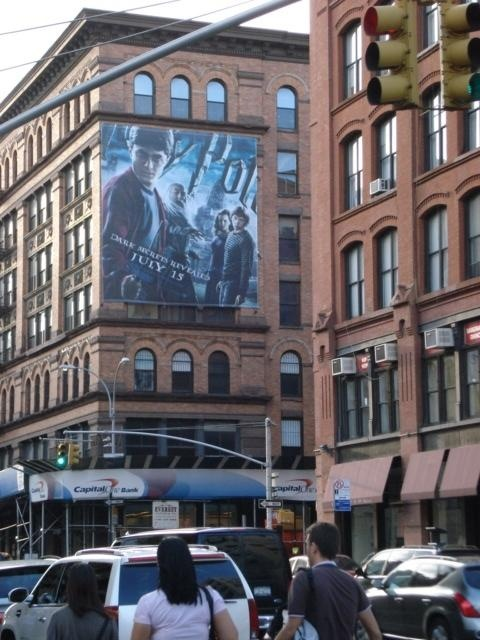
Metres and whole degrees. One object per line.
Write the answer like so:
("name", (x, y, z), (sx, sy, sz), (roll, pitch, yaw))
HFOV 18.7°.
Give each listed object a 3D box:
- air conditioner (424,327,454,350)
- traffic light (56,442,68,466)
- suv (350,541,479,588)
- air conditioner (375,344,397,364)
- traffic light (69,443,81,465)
("air conditioner", (4.834, 0.461, 35.623), (0.546, 0.490, 0.789), (11, -14, -22))
("traffic light", (-5.086, 3.819, 41.732), (0.265, 0.774, 1.234), (1, -14, -8))
("suv", (2.616, 3.746, 22.899), (0.862, 0.812, 1.839), (5, -10, -39))
("air conditioner", (3.853, 0.882, 38.429), (0.447, 0.610, 1.205), (-1, -14, -4))
("traffic light", (-4.963, 3.951, 43.495), (0.336, 0.645, 0.815), (1, -14, -9))
